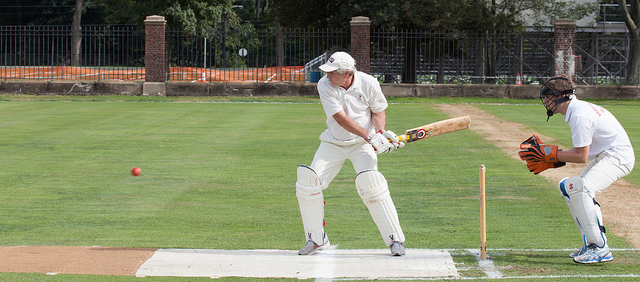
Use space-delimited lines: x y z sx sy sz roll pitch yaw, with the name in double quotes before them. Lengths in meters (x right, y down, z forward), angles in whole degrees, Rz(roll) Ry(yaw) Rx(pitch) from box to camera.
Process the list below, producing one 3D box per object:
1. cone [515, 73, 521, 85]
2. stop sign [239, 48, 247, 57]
"cone" 15.100 -4.737 72.538 0.417 0.844 1.089 1 6 11
"stop sign" -6.134 -7.098 76.460 0.911 0.645 0.214 0 -2 37
